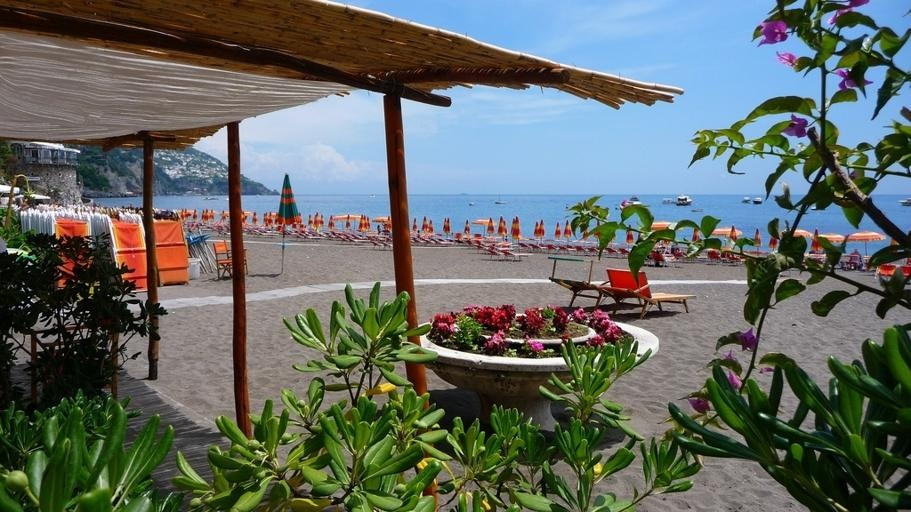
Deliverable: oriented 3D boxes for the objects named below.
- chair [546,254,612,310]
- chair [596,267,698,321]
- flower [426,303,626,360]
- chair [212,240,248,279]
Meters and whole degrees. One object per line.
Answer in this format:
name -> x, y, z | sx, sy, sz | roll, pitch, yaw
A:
chair -> 3.215, 0.678, 14.991 | 2.261, 1.233, 1.406 | 3, 2, -40
chair -> 4.641, 0.793, 13.383 | 1.426, 0.567, 0.839 | 11, 2, 9
flower -> 0.785, 0.846, 6.842 | 2.161, 0.402, 1.081 | -1, 6, -14
chair -> -6.854, 0.087, 17.956 | 0.937, 1.013, 0.918 | -8, 12, -30
